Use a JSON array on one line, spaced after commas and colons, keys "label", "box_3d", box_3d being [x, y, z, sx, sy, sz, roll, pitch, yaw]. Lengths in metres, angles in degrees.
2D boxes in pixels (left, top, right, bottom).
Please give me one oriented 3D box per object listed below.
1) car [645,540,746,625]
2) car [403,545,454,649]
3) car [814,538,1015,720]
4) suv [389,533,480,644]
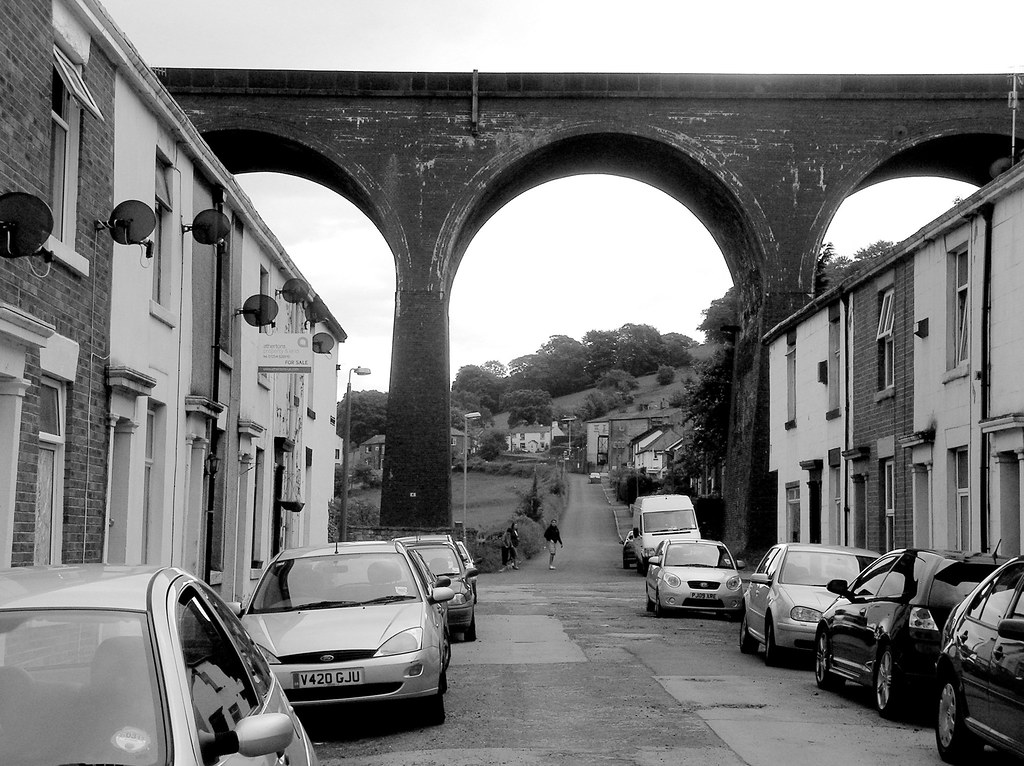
[{"label": "car", "box_3d": [3.936, 4.232, 23.166, 1.903, 1.700, 2.015, -2, -10, 6]}, {"label": "car", "box_3d": [-0.978, 2.499, 12.859, 0.943, 1.022, 1.862, -1, -11, -2]}, {"label": "car", "box_3d": [4.219, 2.615, 11.439, 1.218, 1.124, 2.314, 3, -4, -5]}, {"label": "suv", "box_3d": [-1.194, 3.513, 18.640, 1.201, 1.277, 2.671, -1, -11, 0]}]
